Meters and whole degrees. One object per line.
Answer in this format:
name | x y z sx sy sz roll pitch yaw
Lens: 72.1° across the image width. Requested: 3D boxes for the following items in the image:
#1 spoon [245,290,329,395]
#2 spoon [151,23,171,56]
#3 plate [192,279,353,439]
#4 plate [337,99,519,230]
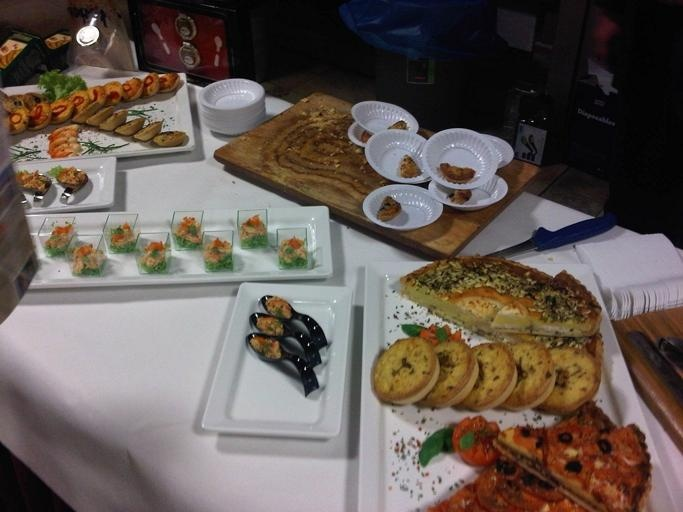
spoon | -0.115 0.194 1.046 0.123 0.037 0.202 -26 57 -24
spoon | -0.720 -0.868 1.918 0.033 0.146 0.006 3 54 30
plate | -0.123 0.207 1.031 0.272 0.043 0.370 4 50 2
plate | 0.261 -0.307 1.427 0.397 0.058 0.318 11 62 16
